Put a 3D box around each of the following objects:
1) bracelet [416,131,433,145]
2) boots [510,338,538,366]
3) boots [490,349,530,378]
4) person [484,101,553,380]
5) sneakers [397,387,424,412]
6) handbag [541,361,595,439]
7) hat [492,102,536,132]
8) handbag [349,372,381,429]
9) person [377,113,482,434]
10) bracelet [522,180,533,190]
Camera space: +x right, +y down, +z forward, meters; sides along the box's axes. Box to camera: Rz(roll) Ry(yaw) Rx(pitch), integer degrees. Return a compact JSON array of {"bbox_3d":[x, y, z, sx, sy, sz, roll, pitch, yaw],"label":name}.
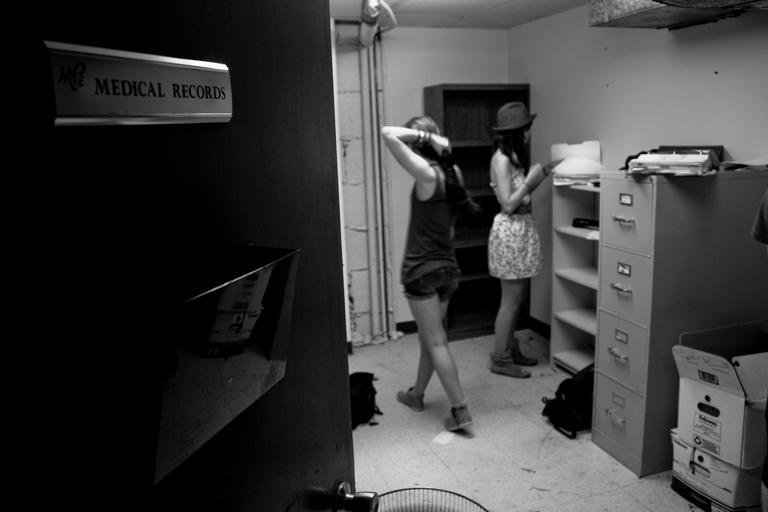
[{"bbox_3d":[0.215,-0.646,3.083,0.080,0.081,0.063,7,2,-8],"label":"bracelet"},{"bbox_3d":[1.071,0.719,4.257,0.300,0.219,0.123,1,11,4],"label":"boots"},{"bbox_3d":[0.880,0.772,4.059,0.327,0.182,0.123,1,7,17],"label":"boots"},{"bbox_3d":[0.914,-0.088,3.908,0.390,1.884,0.410,-5,12,-11],"label":"person"},{"bbox_3d":[0.166,0.921,3.668,0.086,0.098,0.219,-2,10,-23],"label":"sneakers"},{"bbox_3d":[1.104,0.825,3.434,0.337,0.415,0.353,6,13,39],"label":"handbag"},{"bbox_3d":[0.865,-0.928,3.740,0.241,0.094,0.220,-33,29,-10],"label":"hat"},{"bbox_3d":[-0.109,0.873,3.491,0.186,0.264,0.357,-3,12,-2],"label":"handbag"},{"bbox_3d":[0.276,0.114,3.306,0.495,1.809,0.431,1,12,17],"label":"person"},{"bbox_3d":[0.928,-0.460,3.654,0.045,0.034,0.043,-38,49,-24],"label":"bracelet"}]
